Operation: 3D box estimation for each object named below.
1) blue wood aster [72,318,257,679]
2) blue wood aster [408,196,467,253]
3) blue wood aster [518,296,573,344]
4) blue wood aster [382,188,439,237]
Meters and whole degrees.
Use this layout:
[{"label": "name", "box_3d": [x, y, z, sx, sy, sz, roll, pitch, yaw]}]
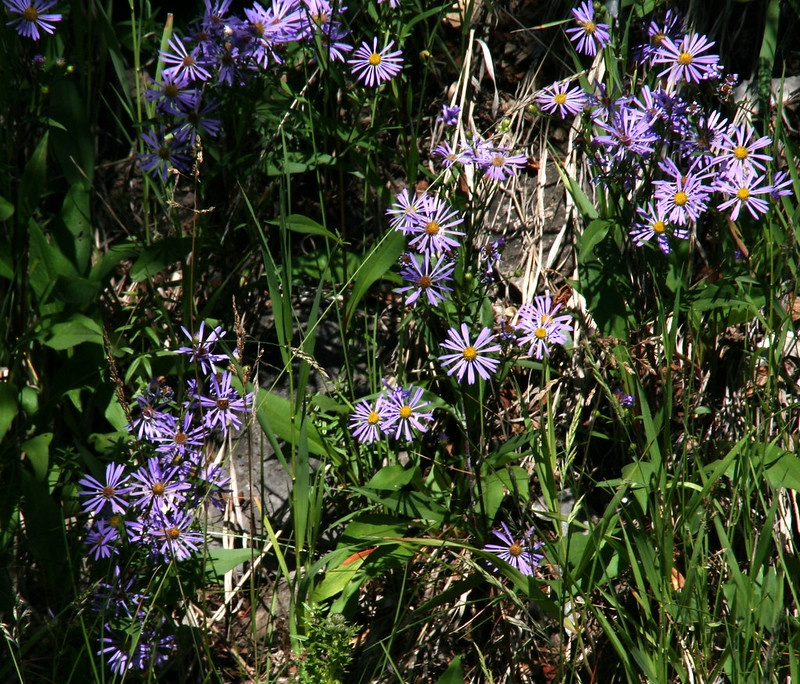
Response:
[{"label": "blue wood aster", "box_3d": [-0.540, 0.285, 1.946, 0.223, 0.343, 0.926, -2, 75, 47]}, {"label": "blue wood aster", "box_3d": [0.081, -0.233, 1.928, 0.111, 0.031, 0.127, 38, 78, 1]}, {"label": "blue wood aster", "box_3d": [0.318, -0.023, 1.952, 0.096, 0.035, 0.123, 26, 66, 18]}, {"label": "blue wood aster", "box_3d": [0.024, -0.272, 1.963, 0.108, 0.032, 0.108, -48, 62, 7]}]
